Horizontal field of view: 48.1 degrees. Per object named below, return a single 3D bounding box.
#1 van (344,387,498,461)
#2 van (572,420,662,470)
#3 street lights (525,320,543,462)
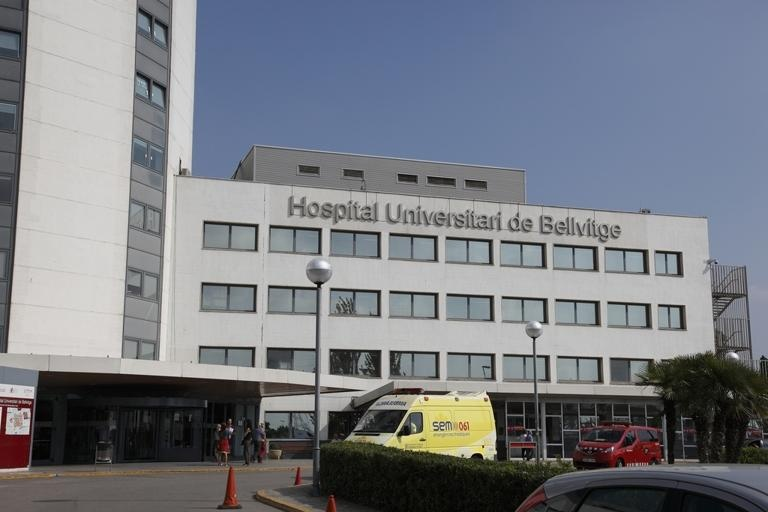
[{"bbox_3d":[1.729,7.786,37.397,6.363,3.561,2.932,9,-17,-34],"label":"van"},{"bbox_3d":[11.066,8.978,40.731,4.248,2.127,1.886,9,-18,-25],"label":"van"},{"bbox_3d":[7.035,6.045,39.954,0.943,5.914,0.952,18,-25,-39],"label":"street lights"}]
